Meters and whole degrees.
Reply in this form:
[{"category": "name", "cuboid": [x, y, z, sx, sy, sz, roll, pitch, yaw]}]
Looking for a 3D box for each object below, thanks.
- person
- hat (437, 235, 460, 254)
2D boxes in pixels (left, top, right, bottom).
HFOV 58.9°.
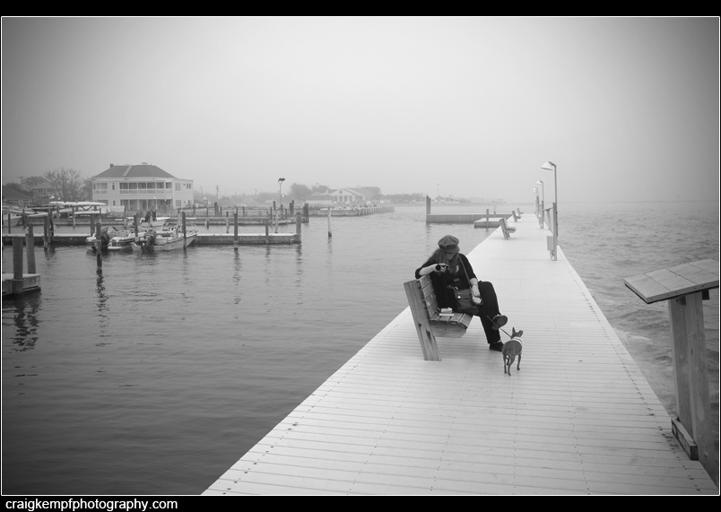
[{"category": "person", "cuboid": [1.605, 0.591, 9.740, 1.229, 1.772, 1.019, -11, 2, 34]}, {"category": "hat", "cuboid": [1.316, -0.163, 9.556, 0.291, 0.263, 0.353, -2, 6, 6]}]
